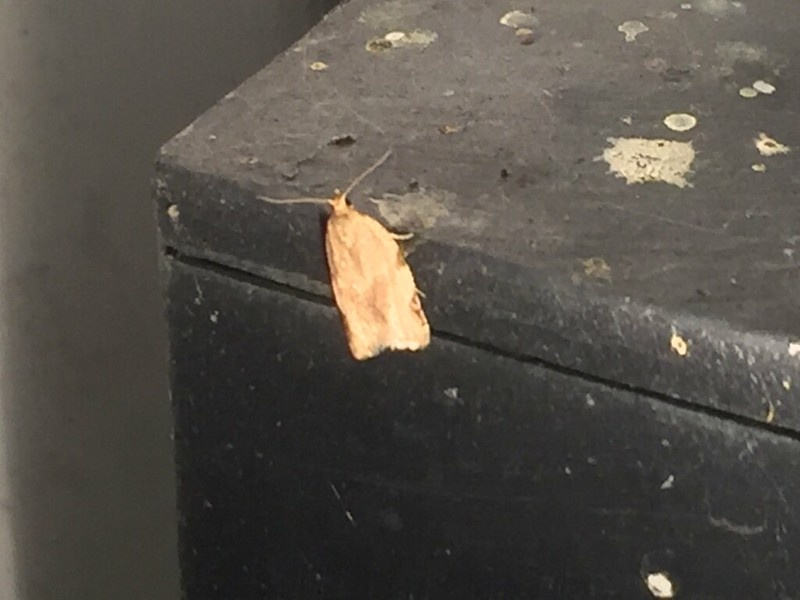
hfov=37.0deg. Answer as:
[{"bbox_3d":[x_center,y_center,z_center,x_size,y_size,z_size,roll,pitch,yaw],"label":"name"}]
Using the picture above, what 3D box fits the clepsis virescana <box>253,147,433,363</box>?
[{"bbox_3d":[-0.043,-0.031,1.797,0.197,0.342,0.038,-13,13,19],"label":"clepsis virescana"}]
